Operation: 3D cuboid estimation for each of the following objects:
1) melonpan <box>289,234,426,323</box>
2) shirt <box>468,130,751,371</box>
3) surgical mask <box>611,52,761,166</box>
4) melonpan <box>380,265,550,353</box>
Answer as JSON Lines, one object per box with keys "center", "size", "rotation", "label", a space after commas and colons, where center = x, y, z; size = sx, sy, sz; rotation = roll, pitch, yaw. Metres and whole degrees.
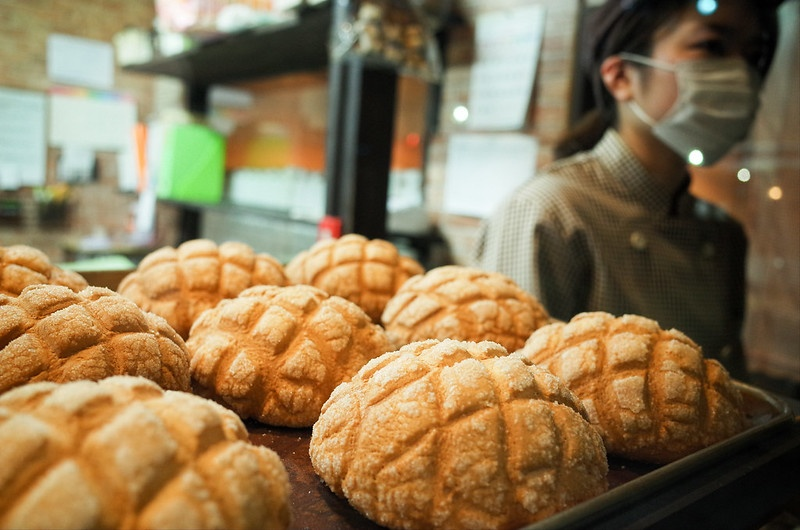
{"center": [-0.114, 0.015, 1.695], "size": [0.236, 0.109, 0.277], "rotation": [-16, 29, -25], "label": "melonpan"}
{"center": [0.569, -0.032, 1.746], "size": [0.763, 0.638, 0.379], "rotation": [11, 0, -20], "label": "shirt"}
{"center": [0.722, -0.390, 1.702], "size": [0.302, 0.182, 0.262], "rotation": [16, 7, 36], "label": "surgical mask"}
{"center": [0.159, 0.057, 1.471], "size": [0.241, 0.081, 0.234], "rotation": [-5, 12, -38], "label": "melonpan"}
